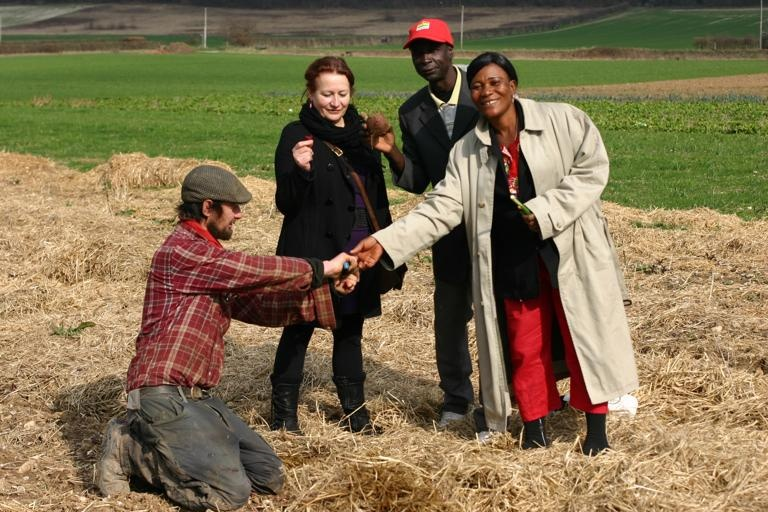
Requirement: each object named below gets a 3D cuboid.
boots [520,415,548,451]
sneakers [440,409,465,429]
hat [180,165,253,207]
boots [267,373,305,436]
[{"bbox_3d":[1.439,1.689,7.801,0.357,0.353,0.190,1,2,3],"label":"boots"},{"bbox_3d":[0.687,1.663,8.365,0.326,0.127,0.110,-6,9,-2],"label":"sneakers"},{"bbox_3d":[-1.524,-0.617,7.333,0.540,0.231,0.356,-4,14,-10],"label":"hat"},{"bbox_3d":[-0.929,1.532,8.038,0.296,0.556,0.607,8,-20,-25],"label":"boots"}]
